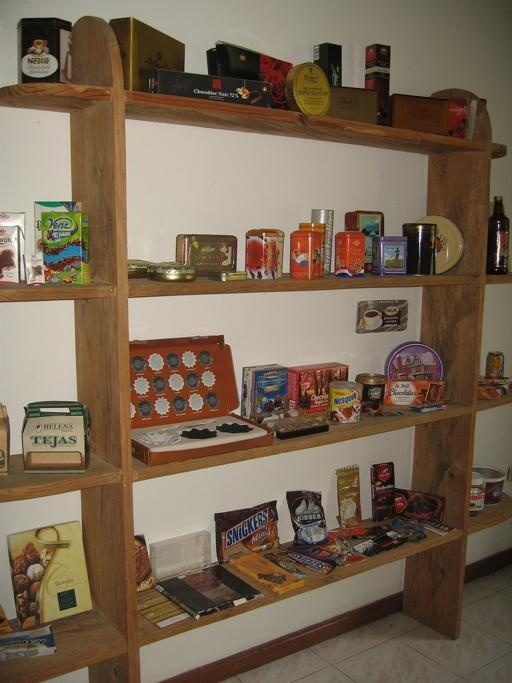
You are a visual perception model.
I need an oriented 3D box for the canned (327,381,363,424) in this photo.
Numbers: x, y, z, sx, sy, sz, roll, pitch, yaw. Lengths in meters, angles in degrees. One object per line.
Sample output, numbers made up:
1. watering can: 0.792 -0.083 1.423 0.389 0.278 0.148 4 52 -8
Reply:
1. canned: 0.294 0.203 1.930 0.121 0.126 0.118 -2 6 -26
